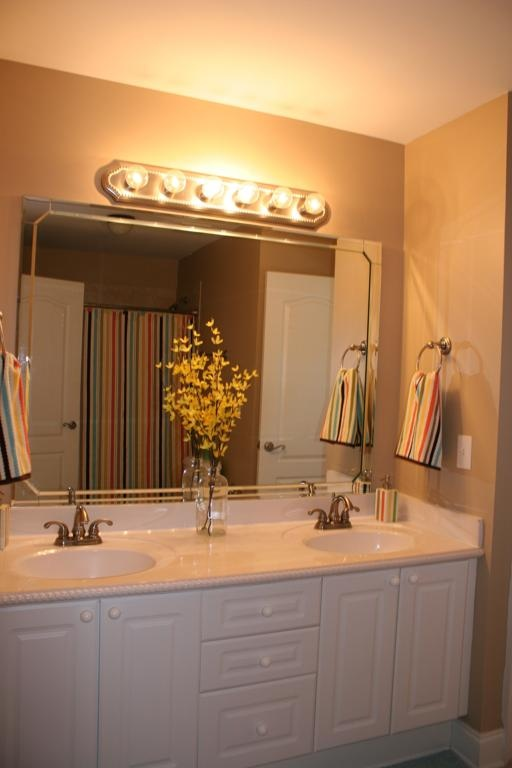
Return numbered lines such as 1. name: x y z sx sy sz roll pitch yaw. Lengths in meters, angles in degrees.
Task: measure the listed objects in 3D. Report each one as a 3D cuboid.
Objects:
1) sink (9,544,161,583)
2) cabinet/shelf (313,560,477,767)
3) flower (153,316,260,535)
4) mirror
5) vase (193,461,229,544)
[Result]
1. sink: -0.507 0.545 1.740 0.391 0.100 0.182 0 4 -25
2. cabinet/shelf: 0.418 0.813 2.073 0.533 0.650 0.374 -3 14 -10
3. flower: -0.181 0.166 2.128 0.265 0.691 0.263 2 -2 13
4. mirror: -0.250 -0.114 2.087 1.099 0.929 0.080 1 4 -17
5. vase: -0.153 0.401 2.042 0.145 0.234 0.156 2 -4 6
